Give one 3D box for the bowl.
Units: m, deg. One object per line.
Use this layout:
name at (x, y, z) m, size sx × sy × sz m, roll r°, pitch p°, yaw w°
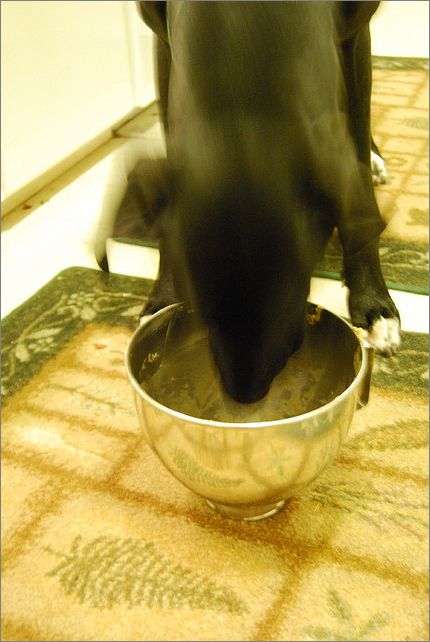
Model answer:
bowl at (0.031, 0.030, 0.634) m, size 0.265 × 0.209 × 0.292 m, roll -2°, pitch 35°, yaw 1°
